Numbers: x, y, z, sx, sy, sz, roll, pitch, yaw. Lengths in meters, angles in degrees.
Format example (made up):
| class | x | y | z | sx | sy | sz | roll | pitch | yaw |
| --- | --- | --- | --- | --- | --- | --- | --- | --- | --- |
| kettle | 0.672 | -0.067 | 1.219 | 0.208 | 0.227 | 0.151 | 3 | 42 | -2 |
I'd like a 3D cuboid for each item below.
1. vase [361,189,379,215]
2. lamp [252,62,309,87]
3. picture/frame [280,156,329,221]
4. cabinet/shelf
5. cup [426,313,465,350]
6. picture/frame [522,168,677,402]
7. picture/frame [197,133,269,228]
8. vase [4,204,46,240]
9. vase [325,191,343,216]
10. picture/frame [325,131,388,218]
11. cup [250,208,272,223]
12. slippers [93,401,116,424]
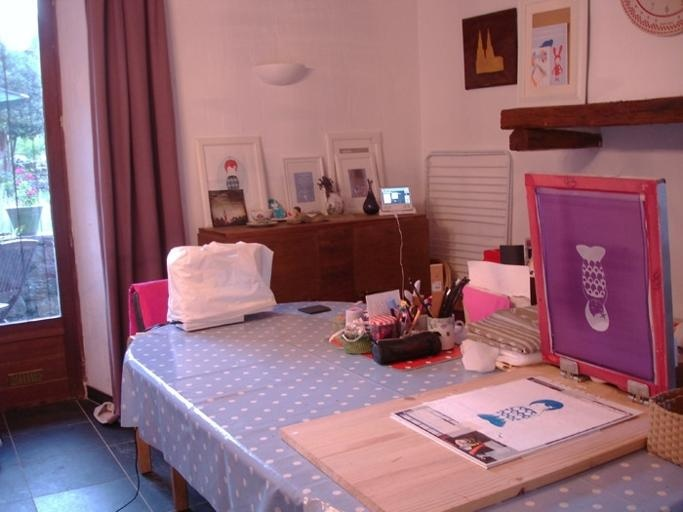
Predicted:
| class | x | y | z | sx | sy | sz | roll | pitch | yaw |
| --- | --- | --- | --- | --- | --- | --- | --- | --- | --- |
| vase | 0.247 | -0.464 | 4.272 | 0.138 | 0.211 | 0.237 | -6 | 9 | -3 |
| lamp | -0.446 | -1.495 | 4.045 | 0.524 | 0.165 | 0.138 | -11 | 11 | -33 |
| picture/frame | -0.332 | -0.552 | 4.168 | 0.525 | 0.732 | 0.034 | -9 | 0 | -40 |
| cabinet/shelf | -0.022 | 0.073 | 3.887 | 1.745 | 0.746 | 0.219 | -11 | 10 | -29 |
| cup | 0.402 | 0.290 | 1.930 | 0.159 | 0.113 | 0.098 | -3 | 2 | -40 |
| picture/frame | 0.678 | 0.070 | 1.326 | 0.089 | 0.601 | 0.372 | -11 | 11 | -29 |
| picture/frame | -0.882 | -0.583 | 3.877 | 0.668 | 0.868 | 0.045 | -12 | 9 | -33 |
| vase | -2.285 | -0.263 | 3.585 | 0.211 | 0.159 | 0.211 | -1 | 0 | 14 |
| vase | -0.065 | -0.444 | 4.164 | 0.145 | 0.189 | 0.194 | -6 | 9 | 0 |
| picture/frame | 0.103 | -0.715 | 4.377 | 0.761 | 1.048 | 0.048 | -8 | 3 | -37 |
| cup | -0.627 | -0.315 | 3.868 | 0.125 | 0.119 | 0.157 | -3 | 4 | -26 |
| slippers | -1.631 | 1.090 | 3.421 | 0.140 | 0.059 | 0.143 | 18 | 25 | 32 |
